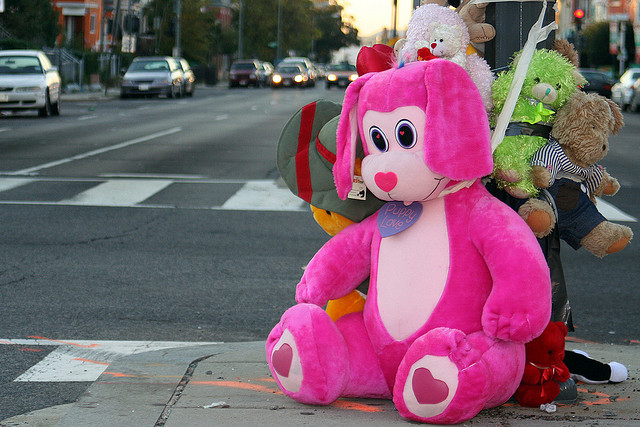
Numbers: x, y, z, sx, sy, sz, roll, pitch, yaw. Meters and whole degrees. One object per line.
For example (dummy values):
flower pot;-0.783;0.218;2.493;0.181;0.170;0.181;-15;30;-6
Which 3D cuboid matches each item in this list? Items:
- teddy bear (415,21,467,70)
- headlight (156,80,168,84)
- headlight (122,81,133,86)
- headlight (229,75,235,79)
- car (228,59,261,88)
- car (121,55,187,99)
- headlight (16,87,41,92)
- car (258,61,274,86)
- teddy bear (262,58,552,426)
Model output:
teddy bear;0.614;-0.882;4.157;0.249;0.319;0.234;9;17;31
headlight;-6.564;-5.574;33.853;0.462;0.161;0.091;-2;13;-13
headlight;-8.007;-5.523;33.950;0.254;0.235;0.059;0;16;5
headlight;-5.532;-8.723;51.160;0.228;0.159;0.224;0;2;0
car;-4.801;-8.967;51.612;1.865;1.673;1.742;1;13;0
car;-6.932;-5.866;34.724;1.944;1.755;2.698;10;15;33
headlight;-7.688;-3.335;21.536;0.602;0.121;0.047;-7;15;-33
car;-3.785;-9.874;55.654;1.160;0.972;2.526;-1;7;1
teddy bear;0.466;0.123;3.919;1.263;1.719;0.597;5;14;16
